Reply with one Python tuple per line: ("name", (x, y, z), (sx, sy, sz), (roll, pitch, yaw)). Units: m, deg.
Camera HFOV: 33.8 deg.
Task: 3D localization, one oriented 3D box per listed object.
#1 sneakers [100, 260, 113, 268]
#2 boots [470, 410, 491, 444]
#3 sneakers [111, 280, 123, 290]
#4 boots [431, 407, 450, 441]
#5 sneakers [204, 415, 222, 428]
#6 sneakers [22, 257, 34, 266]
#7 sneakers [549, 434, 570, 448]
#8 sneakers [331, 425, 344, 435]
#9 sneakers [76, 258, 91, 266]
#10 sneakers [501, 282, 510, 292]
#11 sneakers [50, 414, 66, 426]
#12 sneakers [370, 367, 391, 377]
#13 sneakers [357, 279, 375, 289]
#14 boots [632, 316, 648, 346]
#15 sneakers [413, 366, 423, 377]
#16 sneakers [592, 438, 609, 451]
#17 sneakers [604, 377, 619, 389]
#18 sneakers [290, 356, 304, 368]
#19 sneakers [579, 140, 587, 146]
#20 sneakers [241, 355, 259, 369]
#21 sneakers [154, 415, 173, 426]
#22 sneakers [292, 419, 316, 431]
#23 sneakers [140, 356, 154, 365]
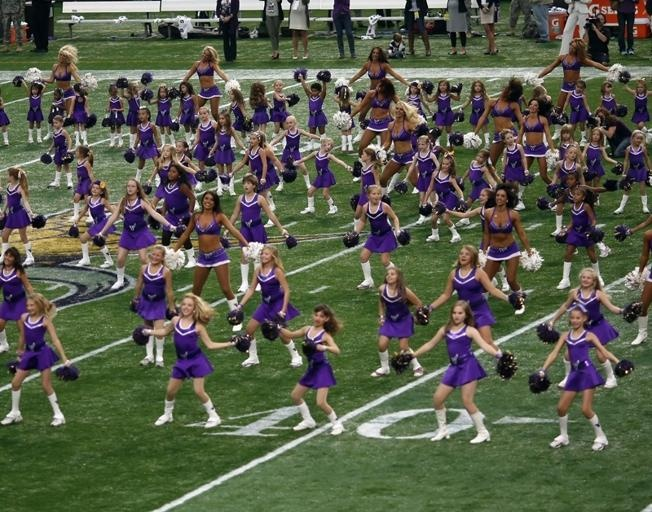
("sneakers", (-3.632, 0.141, 17.741), (0.219, 0.109, 0.264), (-2, 11, -2))
("boots", (1.723, 1.859, 11.883), (0.224, 0.408, 0.397), (1, 11, 9))
("sneakers", (-3.250, 0.444, 16.683), (0.191, 0.143, 0.191), (-3, 11, -12))
("boots", (1.287, 1.845, 12.018), (0.202, 0.418, 0.377), (2, 11, 14))
("sneakers", (-1.322, 1.917, 12.562), (0.211, 0.141, 0.180), (-4, 11, -13))
("sneakers", (-4.998, 0.067, 18.008), (0.179, 0.141, 0.363), (-4, 12, -15))
("sneakers", (2.544, 2.007, 11.695), (0.239, 0.102, 0.110), (-16, 8, -27))
("sneakers", (0.127, 1.976, 12.184), (0.086, 0.064, 0.150), (0, 13, 26))
("sneakers", (-4.024, 0.100, 17.790), (0.216, 0.121, 0.108), (2, 23, 12))
("sneakers", (2.613, 0.466, 15.514), (0.102, 0.158, 0.294), (1, 11, 9))
("sneakers", (-3.159, 1.928, 12.587), (0.094, 0.119, 0.175), (0, -11, 1))
("sneakers", (0.687, 1.465, 13.512), (0.294, 0.127, 0.101), (-1, 5, 4))
("sneakers", (0.614, 0.430, 16.134), (0.281, 0.196, 0.108), (3, 11, 7))
("boots", (4.085, 0.926, 13.902), (0.193, 0.413, 0.493), (2, 11, 17))
("sneakers", (1.162, 1.454, 13.473), (0.124, 0.101, 0.246), (-4, -2, 6))
("sneakers", (2.973, 2.016, 11.586), (0.192, 0.140, 0.159), (-1, 11, 2))
("sneakers", (3.426, 1.533, 12.847), (0.084, 0.173, 0.256), (-4, -3, 38))
("sneakers", (-0.361, 1.365, 13.910), (0.203, 0.134, 0.134), (-7, 13, -29))
("sneakers", (5.341, -2.312, 22.224), (0.138, 0.173, 0.410), (-2, 5, 7))
("sneakers", (-0.982, 1.385, 13.998), (0.248, 0.168, 0.097), (-7, 48, -3))
("sneakers", (-1.914, 1.922, 12.619), (0.207, 0.092, 0.092), (-7, 12, -37))
("sneakers", (-0.240, 1.932, 12.381), (0.234, 0.095, 0.126), (-4, 8, -3))
("sneakers", (-2.358, 1.380, 14.087), (0.176, 0.101, 0.093), (-3, 11, -9))
